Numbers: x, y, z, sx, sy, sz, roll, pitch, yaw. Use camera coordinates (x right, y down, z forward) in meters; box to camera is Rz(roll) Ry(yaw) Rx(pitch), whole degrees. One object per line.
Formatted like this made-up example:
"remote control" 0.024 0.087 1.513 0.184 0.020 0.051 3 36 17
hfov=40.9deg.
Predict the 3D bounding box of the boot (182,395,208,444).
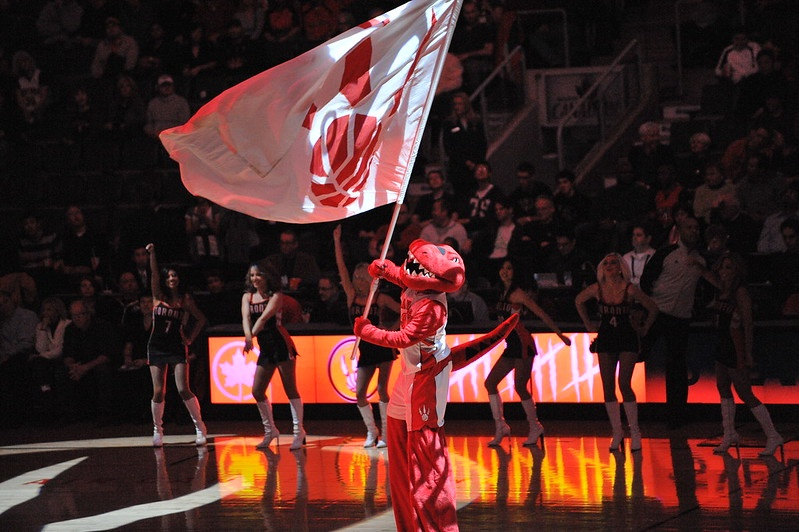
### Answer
"boot" -2.889 2.185 15.146 0.258 0.697 0.495 -5 13 -11

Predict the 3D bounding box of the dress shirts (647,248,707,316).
"dress shirts" 4.077 0.138 15.428 0.806 1.120 0.619 8 26 17

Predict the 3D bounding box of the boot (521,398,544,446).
"boot" 1.855 2.103 14.784 0.290 0.633 0.744 -1 12 8

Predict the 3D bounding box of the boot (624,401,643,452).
"boot" 3.133 2.133 14.287 0.229 0.628 0.376 0 13 11

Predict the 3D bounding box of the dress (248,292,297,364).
"dress" -1.777 0.865 14.884 0.787 0.996 0.544 -10 -26 5

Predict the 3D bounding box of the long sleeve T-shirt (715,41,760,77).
"long sleeve T-shirt" 5.163 -3.081 16.188 0.634 0.584 0.345 0 14 14

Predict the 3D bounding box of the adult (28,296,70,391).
"adult" -5.482 1.236 16.831 0.527 1.366 0.451 0 -12 2

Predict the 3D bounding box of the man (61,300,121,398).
"man" -4.813 1.337 16.527 0.812 1.539 0.567 -7 13 -18

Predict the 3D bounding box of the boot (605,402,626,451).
"boot" 2.909 2.118 14.365 0.230 0.650 0.507 0 13 11

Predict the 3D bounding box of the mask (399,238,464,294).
"mask" 0.354 0.022 11.645 0.609 0.466 0.614 14 25 -45

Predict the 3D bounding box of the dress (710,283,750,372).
"dress" 4.377 0.812 13.953 0.426 1.012 0.469 0 13 14

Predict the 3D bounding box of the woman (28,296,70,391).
"woman" -5.469 1.235 16.790 0.527 1.366 0.451 0 -12 2

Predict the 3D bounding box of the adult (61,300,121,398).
"adult" -4.813 1.337 16.527 0.812 1.539 0.567 -7 13 -18

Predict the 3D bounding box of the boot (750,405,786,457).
"boot" 4.847 2.108 14.017 0.397 0.654 0.538 4 14 27

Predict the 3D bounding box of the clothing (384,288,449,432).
"clothing" 0.240 1.103 11.819 0.619 1.818 0.797 -2 11 -21

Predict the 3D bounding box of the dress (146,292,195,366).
"dress" -3.269 0.951 15.047 0.580 0.903 0.422 -5 13 -10
